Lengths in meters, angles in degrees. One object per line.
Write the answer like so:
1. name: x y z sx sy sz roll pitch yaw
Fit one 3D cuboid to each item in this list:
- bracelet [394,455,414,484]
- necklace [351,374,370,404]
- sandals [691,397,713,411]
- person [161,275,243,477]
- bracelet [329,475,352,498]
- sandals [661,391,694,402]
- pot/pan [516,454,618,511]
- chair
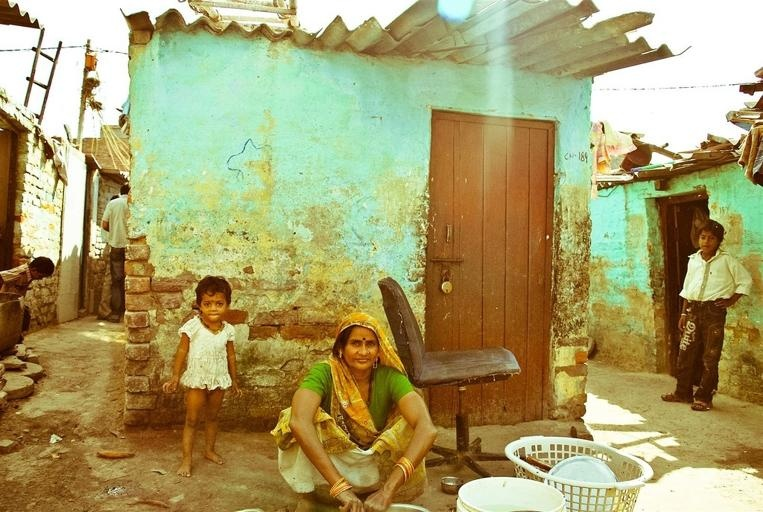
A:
1. bracelet: 0.163 1.506 4.286 0.118 0.148 0.150 -15 34 -28
2. necklace: -0.158 0.988 4.539 0.164 0.213 0.057 8 0 -19
3. sandals: 3.870 1.798 7.229 0.095 0.113 0.215 -2 -6 -38
4. person: -1.606 1.004 5.287 0.592 1.487 0.563 3 1 -27
5. bracelet: -0.301 1.607 4.208 0.140 0.134 0.091 -11 49 -44
6. sandals: 3.732 1.788 7.554 0.375 0.148 0.135 3 -3 12
7. pot/pan: 1.431 1.633 4.425 0.360 0.186 0.496 1 -5 -40
8. chair: 0.520 1.056 6.005 1.721 1.949 1.595 0 2 1
